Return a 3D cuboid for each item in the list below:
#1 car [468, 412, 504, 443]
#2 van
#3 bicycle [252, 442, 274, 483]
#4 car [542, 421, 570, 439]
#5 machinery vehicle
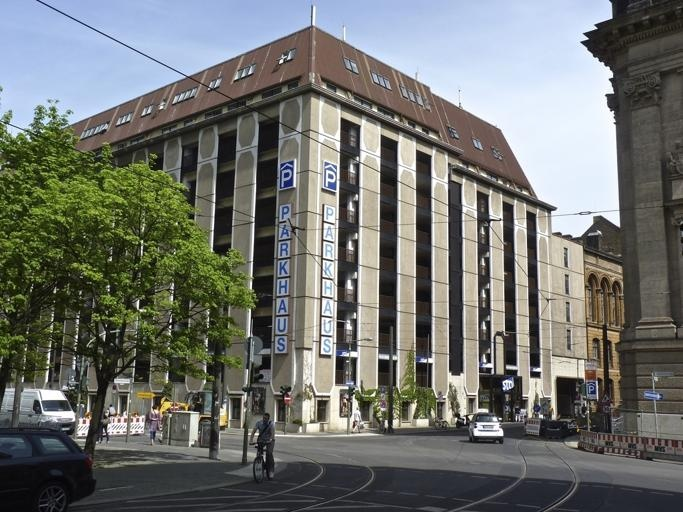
[{"bbox_3d":[7.910,9.550,41.122,1.279,1.002,2.088,0,-16,1],"label":"car"},{"bbox_3d":[-18.082,8.966,42.929,6.271,2.884,3.005,-9,-14,27],"label":"van"},{"bbox_3d":[-2.606,6.803,24.452,0.619,1.224,1.039,0,-16,-6],"label":"bicycle"},{"bbox_3d":[13.624,11.094,47.417,1.729,1.034,1.162,6,-8,-33],"label":"car"},{"bbox_3d":[-9.801,9.619,45.948,5.481,2.133,2.808,3,-12,3],"label":"machinery vehicle"}]
